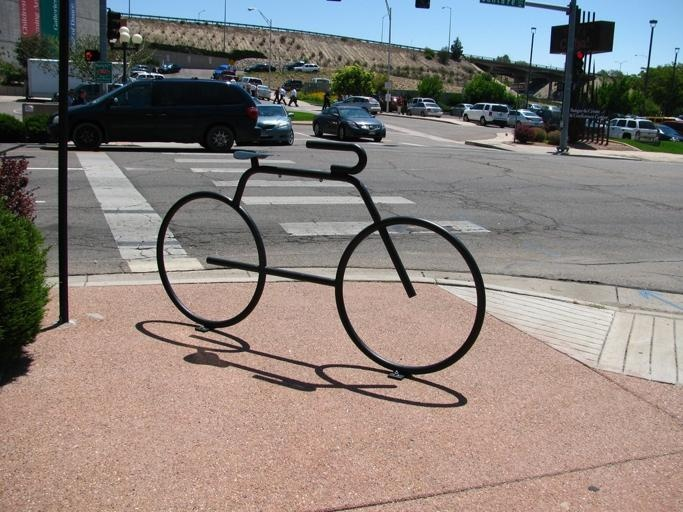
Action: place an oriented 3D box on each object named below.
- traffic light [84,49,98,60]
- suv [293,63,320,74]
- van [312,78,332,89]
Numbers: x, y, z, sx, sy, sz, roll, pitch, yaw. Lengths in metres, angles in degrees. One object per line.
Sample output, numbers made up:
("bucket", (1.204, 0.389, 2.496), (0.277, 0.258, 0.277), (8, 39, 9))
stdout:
("traffic light", (-8.065, -6.526, 19.173), (0.369, 0.331, 0.502), (1, 16, -13))
("suv", (-6.744, -36.945, 117.302), (5.324, 1.754, 2.240), (0, 27, -8))
("van", (-2.712, -24.394, 84.061), (1.629, 1.503, 4.049), (0, 16, -15))
